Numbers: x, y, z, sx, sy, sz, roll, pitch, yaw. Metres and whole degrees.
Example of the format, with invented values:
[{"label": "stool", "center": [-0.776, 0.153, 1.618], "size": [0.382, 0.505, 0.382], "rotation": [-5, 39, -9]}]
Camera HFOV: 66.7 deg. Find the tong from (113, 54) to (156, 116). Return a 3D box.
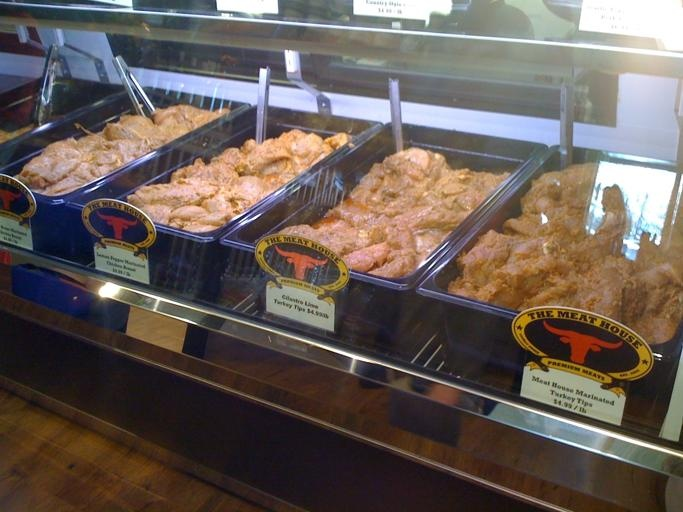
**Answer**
[{"label": "tong", "center": [-0.847, -0.697, 2.114], "size": [0.140, 0.234, 0.075], "rotation": [-3, 30, -14]}]
